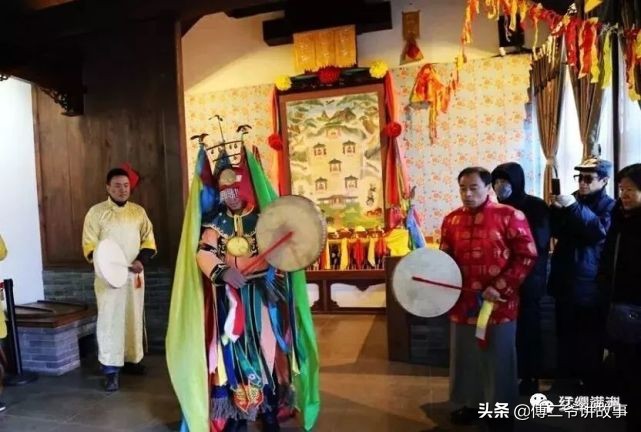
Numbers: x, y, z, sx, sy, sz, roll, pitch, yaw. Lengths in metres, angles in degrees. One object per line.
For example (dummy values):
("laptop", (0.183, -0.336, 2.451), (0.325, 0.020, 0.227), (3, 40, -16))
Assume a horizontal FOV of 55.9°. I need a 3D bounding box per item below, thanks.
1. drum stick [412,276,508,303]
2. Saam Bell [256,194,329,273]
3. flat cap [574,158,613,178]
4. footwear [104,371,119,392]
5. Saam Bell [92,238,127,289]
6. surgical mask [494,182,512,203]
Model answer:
("drum stick", (0.955, 0.506, 4.187), (0.440, 0.059, 0.080), (15, -9, 0))
("Saam Bell", (-0.220, 0.122, 4.231), (0.515, 0.513, 0.122), (-46, -6, 16))
("flat cap", (1.914, -0.349, 4.223), (0.192, 0.087, 0.148), (-6, 18, -33))
("footwear", (-1.717, 1.349, 4.960), (0.113, 0.159, 0.105), (-2, 3, -17))
("Saam Bell", (-1.672, 0.380, 4.861), (0.096, 0.385, 0.333), (0, 3, 20))
("surgical mask", (1.292, -0.167, 4.278), (0.146, 0.188, 0.090), (1, 1, 33))
